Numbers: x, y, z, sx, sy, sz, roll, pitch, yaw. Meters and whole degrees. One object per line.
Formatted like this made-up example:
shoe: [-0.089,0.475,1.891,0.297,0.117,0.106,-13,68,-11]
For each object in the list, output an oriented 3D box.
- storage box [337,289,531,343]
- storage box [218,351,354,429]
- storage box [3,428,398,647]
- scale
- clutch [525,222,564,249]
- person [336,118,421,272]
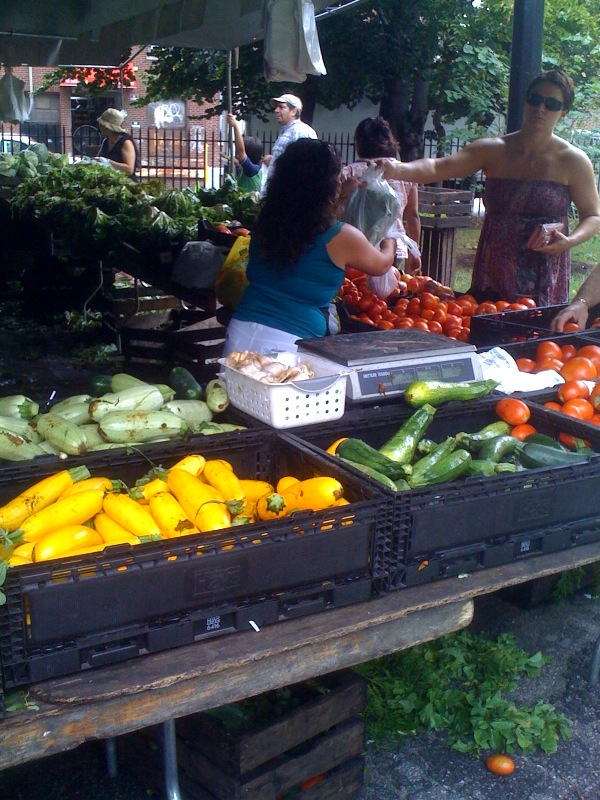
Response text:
storage box: [0.689,-0.627,4.602,1.731,0.411,0.794,-4,18,-23]
storage box: [-0.066,-0.072,2.251,0.464,0.251,0.455,0,16,-8]
storage box: [-0.295,0.291,1.578,0.891,0.203,0.638,-7,17,-32]
scale: [0.340,-0.221,2.521,0.833,0.263,0.661,-5,15,-25]
clutch: [1.393,-0.989,3.816,0.228,0.207,0.064,-11,53,-36]
person: [0.757,-1.676,5.820,0.610,1.710,0.646,9,50,21]
